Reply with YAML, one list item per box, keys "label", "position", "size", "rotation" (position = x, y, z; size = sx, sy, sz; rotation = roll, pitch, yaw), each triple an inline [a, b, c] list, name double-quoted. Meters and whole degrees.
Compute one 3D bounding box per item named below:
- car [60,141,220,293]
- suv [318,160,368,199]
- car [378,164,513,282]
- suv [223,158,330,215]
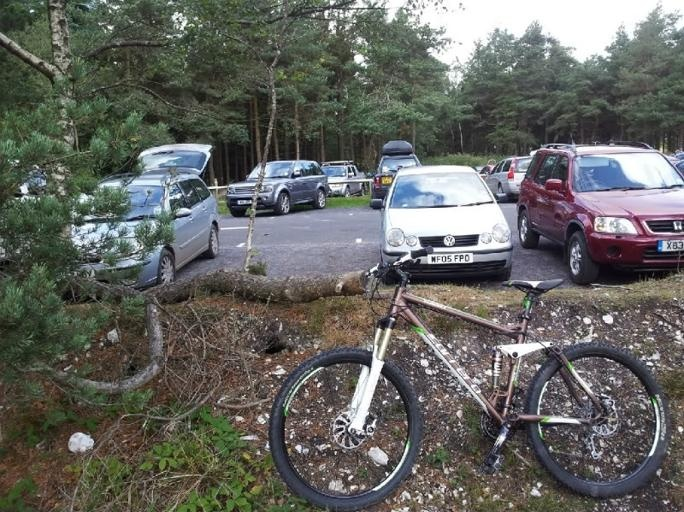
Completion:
- label: "car"
  position: [-3.344, -0.716, 8.451]
  size: [1.555, 2.211, 4.181]
  rotation: [-2, 12, 0]
- label: "suv"
  position: [0.276, -4.217, 27.277]
  size: [1.665, 1.670, 3.709]
  rotation: [1, 6, 14]
- label: "car"
  position: [1.604, -0.590, 7.603]
  size: [1.321, 1.283, 2.492]
  rotation: [-1, 4, 4]
- label: "suv"
  position: [-2.389, -2.600, 19.316]
  size: [1.990, 2.054, 4.165]
  rotation: [-1, 3, 27]
